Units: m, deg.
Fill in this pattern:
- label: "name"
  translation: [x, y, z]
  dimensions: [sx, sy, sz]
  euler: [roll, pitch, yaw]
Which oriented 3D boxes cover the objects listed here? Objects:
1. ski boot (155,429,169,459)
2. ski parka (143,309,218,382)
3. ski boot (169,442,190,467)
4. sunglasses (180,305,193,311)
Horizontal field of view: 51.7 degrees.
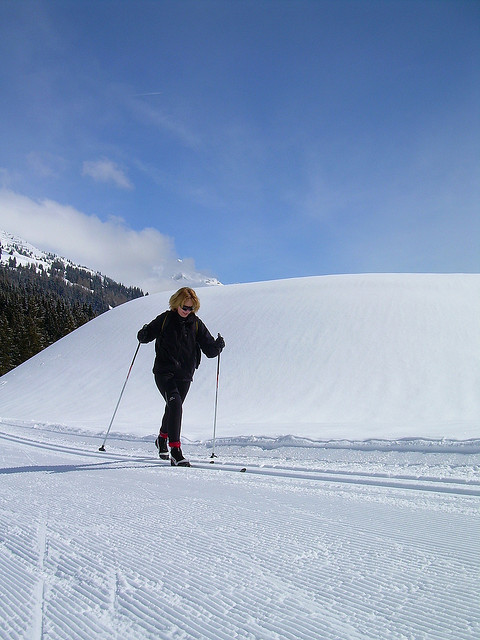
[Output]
- label: "ski boot"
  translation: [-0.709, 1.137, 4.505]
  dimensions: [0.087, 0.286, 0.190]
  euler: [5, -22, -18]
- label: "ski parka"
  translation: [-0.541, 0.197, 4.491]
  dimensions: [0.570, 0.840, 0.452]
  euler: [7, -32, -7]
- label: "ski boot"
  translation: [-0.475, 1.047, 3.842]
  dimensions: [0.120, 0.164, 0.295]
  euler: [3, -9, -22]
- label: "sunglasses"
  translation: [-0.473, -0.102, 4.439]
  dimensions: [0.063, 0.045, 0.146]
  euler: [-7, -11, 35]
